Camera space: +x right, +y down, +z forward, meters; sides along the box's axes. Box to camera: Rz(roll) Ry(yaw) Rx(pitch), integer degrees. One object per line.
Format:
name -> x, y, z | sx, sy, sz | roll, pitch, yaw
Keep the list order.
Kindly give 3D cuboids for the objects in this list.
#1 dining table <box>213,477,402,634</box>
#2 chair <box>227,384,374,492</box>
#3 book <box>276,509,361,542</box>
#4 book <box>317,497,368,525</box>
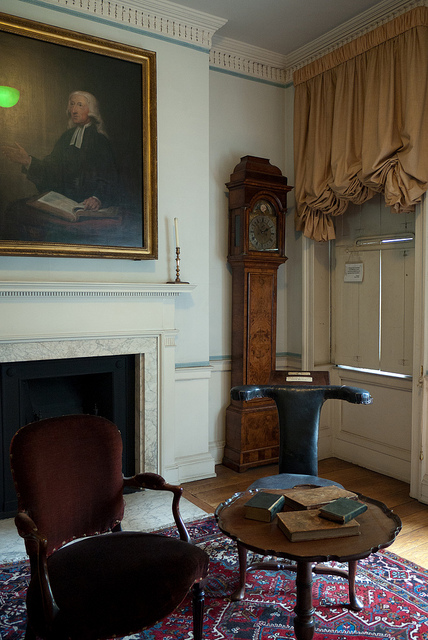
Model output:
dining table -> 0.323, 0.899, 1.829 | 0.668, 0.422, 0.664 | -1, 6, 1
chair -> 0.406, 0.554, 2.423 | 0.565, 0.495, 0.482 | 1, -4, 19
book -> 0.321, 0.639, 1.651 | 0.235, 0.044, 0.170 | -2, 5, -15
book -> 0.420, 0.599, 1.675 | 0.109, 0.022, 0.078 | -3, 3, -45
